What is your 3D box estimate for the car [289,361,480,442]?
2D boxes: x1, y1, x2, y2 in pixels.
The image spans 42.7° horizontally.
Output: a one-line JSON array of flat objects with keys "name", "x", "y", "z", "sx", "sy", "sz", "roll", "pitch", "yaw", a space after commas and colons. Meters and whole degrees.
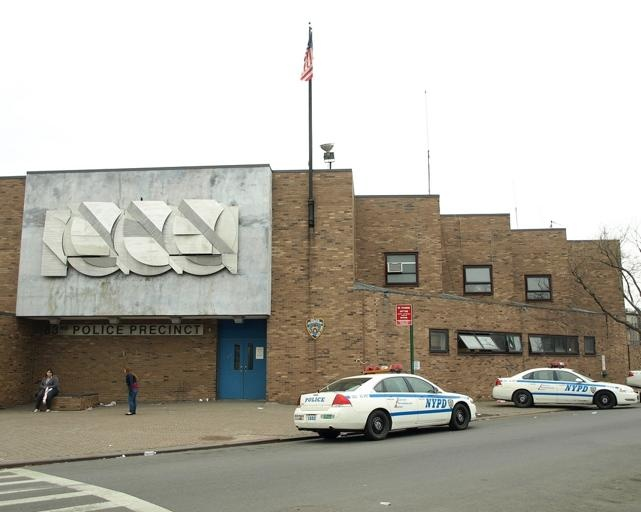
[{"name": "car", "x": 1.944, "y": 4.032, "z": 22.738, "sx": 4.888, "sy": 1.337, "sz": 1.875, "roll": 2, "pitch": -9, "yaw": -29}]

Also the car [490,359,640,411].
[{"name": "car", "x": 8.921, "y": 4.766, "z": 30.519, "sx": 4.834, "sy": 1.331, "sz": 1.886, "roll": -4, "pitch": -9, "yaw": 17}]

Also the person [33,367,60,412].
[{"name": "person", "x": -9.753, "y": 4.778, "z": 29.149, "sx": 0.788, "sy": 1.531, "sz": 0.838, "roll": -6, "pitch": -17, "yaw": 9}]

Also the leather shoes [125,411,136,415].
[{"name": "leather shoes", "x": -6.384, "y": 5.303, "z": 27.652, "sx": 0.365, "sy": 0.135, "sz": 0.121, "roll": 7, "pitch": -12, "yaw": -5}]
